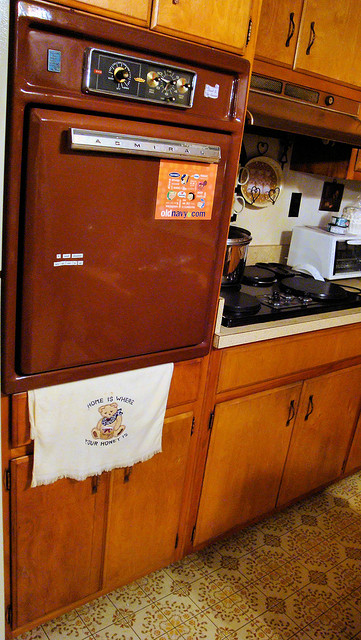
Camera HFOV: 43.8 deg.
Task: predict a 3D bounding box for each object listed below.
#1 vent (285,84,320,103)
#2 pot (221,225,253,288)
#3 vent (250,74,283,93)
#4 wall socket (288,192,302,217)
[{"bbox_3d":[0.413,-0.768,1.525,0.191,0.045,0.012,-8,25,-42],"label":"vent"},{"bbox_3d":[0.177,-0.200,1.627,0.113,0.240,0.120,10,19,-3],"label":"pot"},{"bbox_3d":[0.266,-0.738,1.405,0.166,0.049,0.014,-9,26,-44],"label":"vent"},{"bbox_3d":[0.580,-0.586,2.283,0.028,0.152,0.087,17,16,40],"label":"wall socket"}]
